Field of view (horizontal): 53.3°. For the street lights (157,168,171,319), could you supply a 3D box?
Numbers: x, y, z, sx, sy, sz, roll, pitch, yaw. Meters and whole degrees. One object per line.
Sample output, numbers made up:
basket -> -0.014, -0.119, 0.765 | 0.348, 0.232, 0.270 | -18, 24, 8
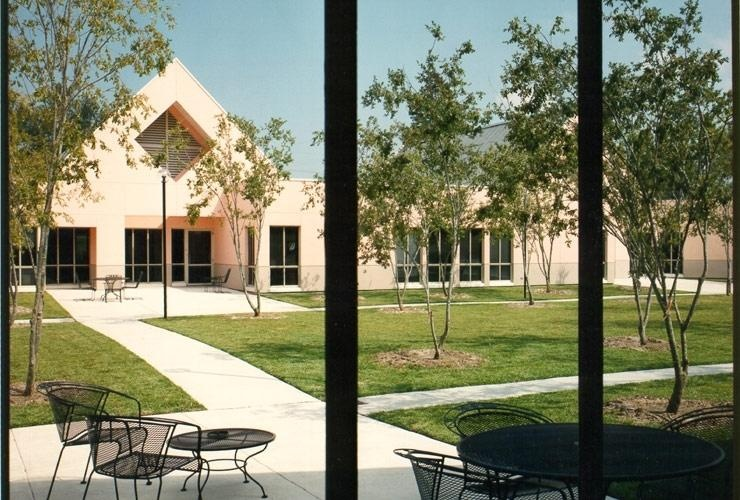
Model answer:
street lights -> -2.133, -0.109, 7.671 | 0.074, 1.411, 0.491 | -1, -4, -15

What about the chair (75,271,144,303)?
chair -> -2.576, 0.364, 7.305 | 0.573, 0.247, 0.248 | -2, -5, -1

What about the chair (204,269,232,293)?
chair -> -1.571, 0.321, 7.532 | 0.224, 0.332, 0.215 | 4, -3, -14

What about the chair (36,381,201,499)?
chair -> -2.037, 1.490, 6.103 | 1.195, 0.835, 0.923 | 2, -4, -7
